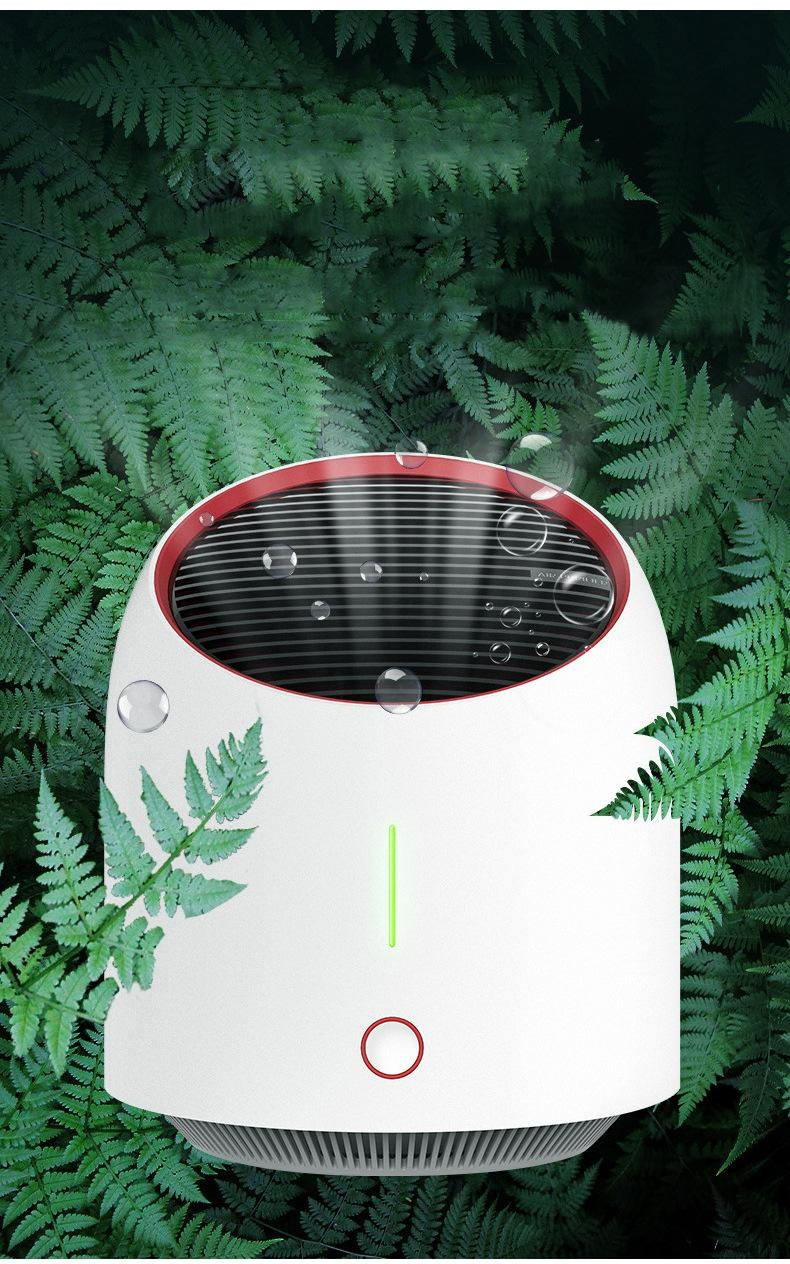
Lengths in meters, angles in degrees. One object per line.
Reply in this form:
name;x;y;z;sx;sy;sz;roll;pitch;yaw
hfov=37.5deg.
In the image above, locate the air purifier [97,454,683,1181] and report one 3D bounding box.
air purifier;0.002;0.350;1.382;0.582;0.240;0.702;-1;3;-2
